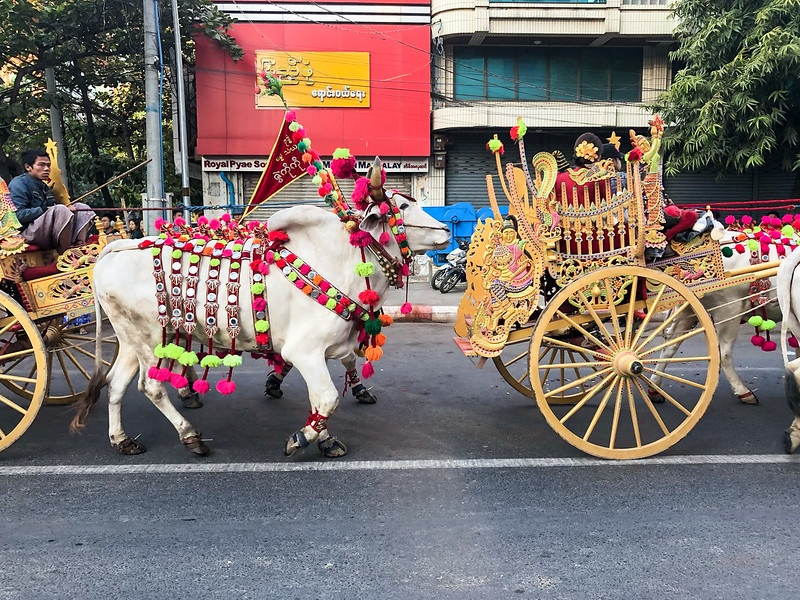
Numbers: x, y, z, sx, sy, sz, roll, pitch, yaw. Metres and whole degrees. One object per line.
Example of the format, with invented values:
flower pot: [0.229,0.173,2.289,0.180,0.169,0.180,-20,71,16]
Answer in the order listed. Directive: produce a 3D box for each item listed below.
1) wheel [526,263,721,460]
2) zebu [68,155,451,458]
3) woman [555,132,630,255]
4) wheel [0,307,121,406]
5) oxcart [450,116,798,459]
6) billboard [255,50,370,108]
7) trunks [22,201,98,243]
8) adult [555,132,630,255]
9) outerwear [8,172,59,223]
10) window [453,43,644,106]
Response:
wheel: [2.216,0.606,10.322,2.427,1.806,0.699,2,6,2]
zebu: [-1.512,0.284,10.124,2.952,2.473,0.709,0,11,7]
woman: [1.910,-1.075,10.321,0.720,1.164,0.655,0,10,7]
wheel: [-3.751,0.680,11.796,1.581,1.206,0.353,-1,0,18]
oxcart: [2.282,-0.197,10.486,2.379,3.267,2.801,9,14,44]
billboard: [-1.786,-4.572,21.204,2.847,1.114,0.049,-9,20,-37]
trunks: [-3.467,-0.774,10.485,0.611,0.256,0.386,-6,43,-13]
adult: [1.910,-1.075,10.321,0.720,1.164,0.655,0,10,7]
outerwear: [-3.825,-1.059,10.626,0.601,0.571,0.694,-1,10,-6]
window: [3.768,-4.694,22.723,3.926,0.907,0.095,-2,7,-21]
